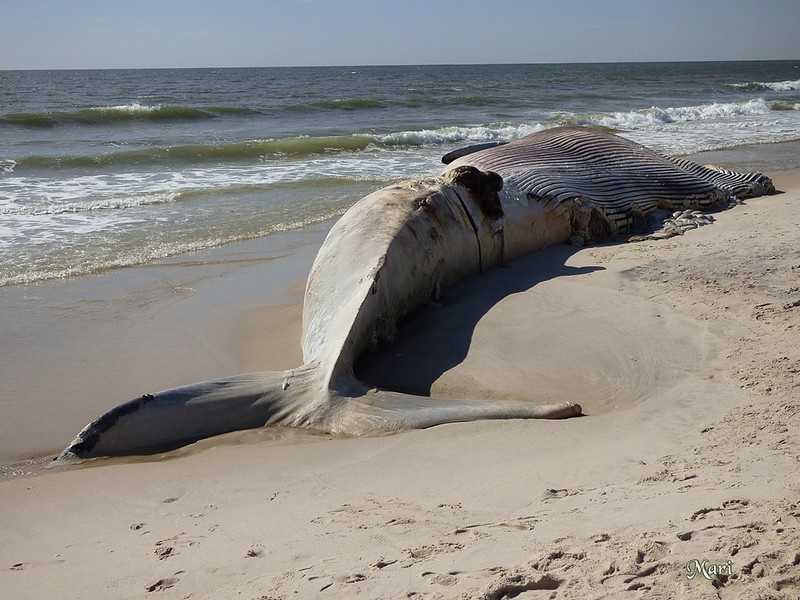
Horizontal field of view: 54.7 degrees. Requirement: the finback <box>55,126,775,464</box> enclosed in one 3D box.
[{"bbox_3d":[0.547,-0.412,6.929,2.966,0.628,5.624,2,16,26],"label":"finback"}]
